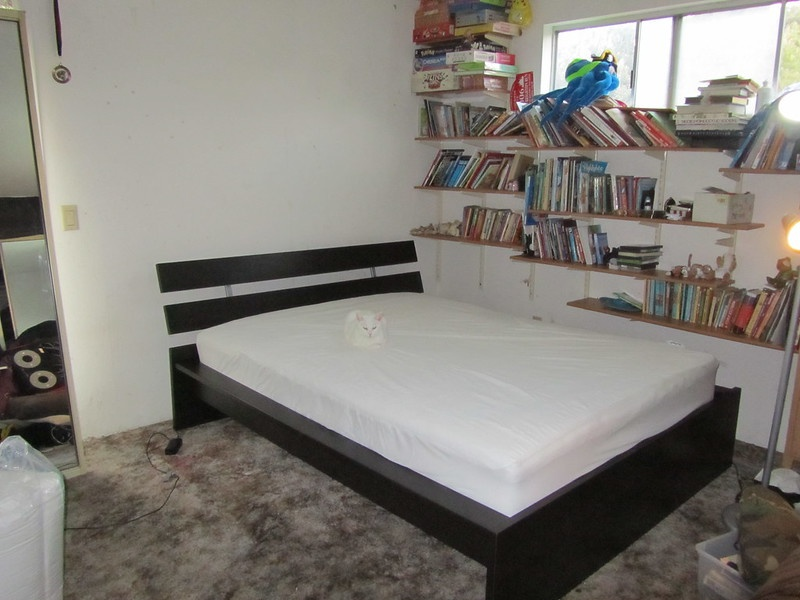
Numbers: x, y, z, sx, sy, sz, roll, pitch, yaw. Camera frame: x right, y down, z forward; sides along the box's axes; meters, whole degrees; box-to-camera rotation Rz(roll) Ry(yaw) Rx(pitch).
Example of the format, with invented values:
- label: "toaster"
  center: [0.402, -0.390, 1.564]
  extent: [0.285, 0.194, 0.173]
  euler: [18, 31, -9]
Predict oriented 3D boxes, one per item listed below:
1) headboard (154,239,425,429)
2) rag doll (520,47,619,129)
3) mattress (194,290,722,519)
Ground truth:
- label: "headboard"
  center: [-0.482, 0.157, 4.048]
  extent: [2.243, 1.117, 0.781]
  euler: [-10, 8, -37]
- label: "rag doll"
  center: [1.197, -1.378, 3.752]
  extent: [0.557, 0.234, 0.469]
  euler: [-40, 27, 19]
- label: "mattress"
  center: [0.126, 0.391, 3.005]
  extent: [1.411, 0.231, 1.874]
  euler: [-11, 16, -40]
